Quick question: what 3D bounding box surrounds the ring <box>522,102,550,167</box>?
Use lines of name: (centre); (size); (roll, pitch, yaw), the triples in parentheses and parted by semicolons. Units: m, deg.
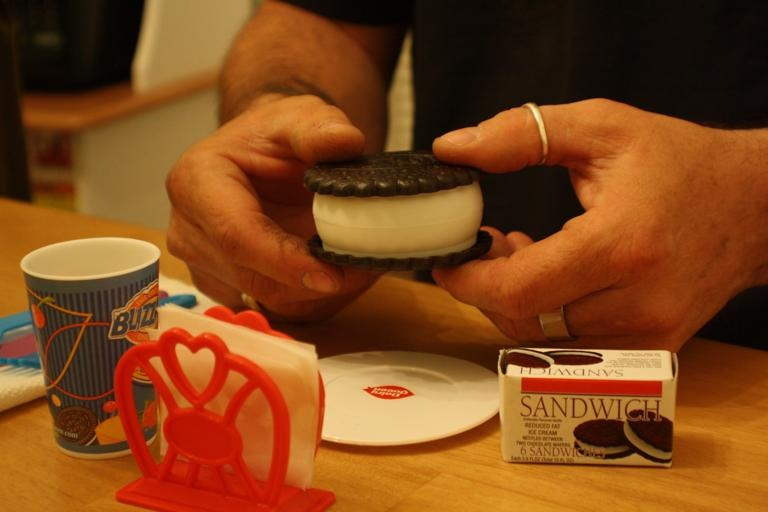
ring: (0.258, -0.215, 1.173); (0.033, 0.099, 0.080); (-4, 22, -9)

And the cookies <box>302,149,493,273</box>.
cookies: (0.021, -0.082, 1.069); (0.215, 0.105, 0.211); (3, 11, 29)

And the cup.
cup: (-0.431, 0.134, 1.022); (0.173, 0.292, 0.175); (0, 22, 0)

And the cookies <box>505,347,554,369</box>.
cookies: (0.209, 0.150, 0.987); (0.073, 0.011, 0.042); (4, 21, 12)

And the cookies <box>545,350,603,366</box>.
cookies: (0.278, 0.150, 0.989); (0.075, 0.006, 0.035); (0, 20, 0)
